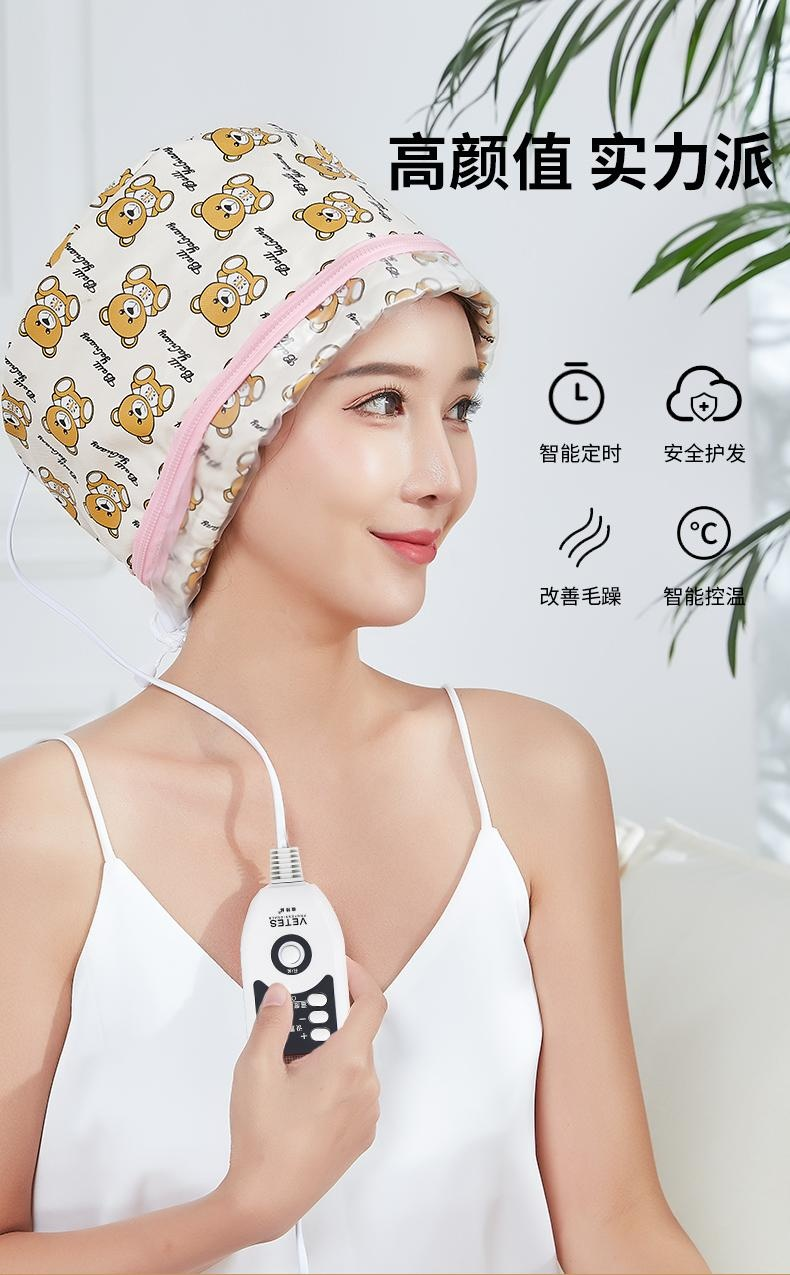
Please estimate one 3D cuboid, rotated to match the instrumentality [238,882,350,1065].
[{"bbox_3d":[-0.071,0.237,0.849,0.077,0.111,0.058,2,8,3],"label":"instrumentality"}]
